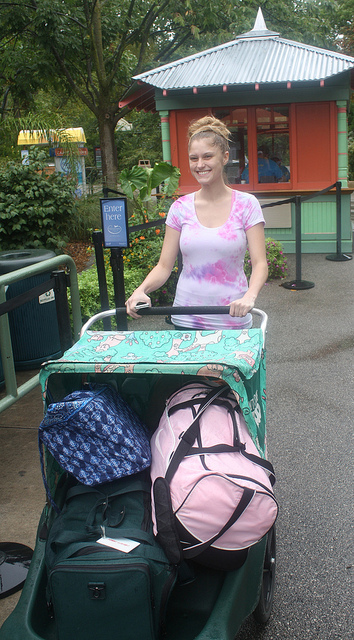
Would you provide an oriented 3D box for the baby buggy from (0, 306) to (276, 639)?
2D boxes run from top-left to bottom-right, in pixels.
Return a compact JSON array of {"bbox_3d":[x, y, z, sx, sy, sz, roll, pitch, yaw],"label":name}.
[{"bbox_3d":[-0.104,0.435,1.786,0.731,1.131,1.350,0,1,11],"label":"baby buggy"}]

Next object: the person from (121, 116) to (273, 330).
[{"bbox_3d":[0.111,-0.184,2.098,0.593,1.424,0.612,-2,13,1],"label":"person"}]

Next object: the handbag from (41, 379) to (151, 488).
[{"bbox_3d":[-0.246,0.406,1.616,0.269,0.296,0.393,-11,2,-3],"label":"handbag"}]

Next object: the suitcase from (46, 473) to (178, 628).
[{"bbox_3d":[-0.203,0.671,1.352,0.347,0.238,0.596,-1,1,-6],"label":"suitcase"}]
